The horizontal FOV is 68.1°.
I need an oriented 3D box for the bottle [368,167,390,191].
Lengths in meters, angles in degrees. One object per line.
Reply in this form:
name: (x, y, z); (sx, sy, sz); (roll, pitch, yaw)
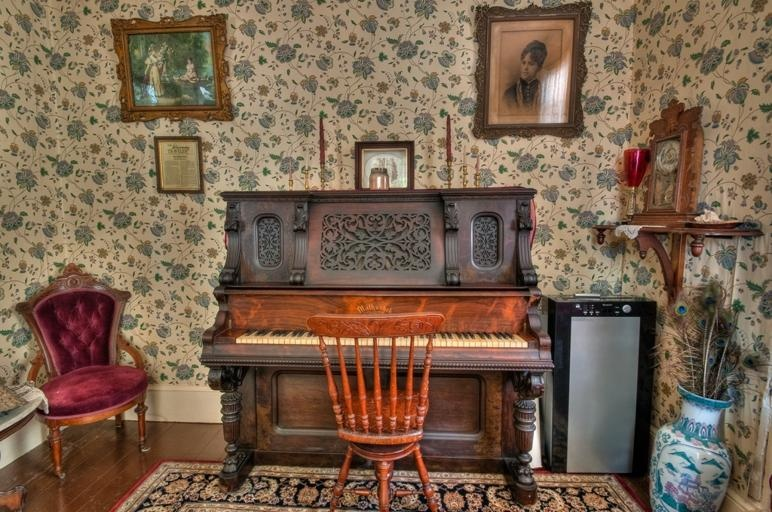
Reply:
bottle: (-0.073, -0.585, 4.517); (0.184, 0.217, 0.182); (0, -3, -7)

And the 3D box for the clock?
clock: (2.148, -0.738, 4.283); (0.140, 0.843, 0.410); (-7, 9, -40)

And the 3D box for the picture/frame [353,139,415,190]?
picture/frame: (-0.018, -0.754, 4.749); (0.511, 0.407, 0.072); (0, -3, -1)

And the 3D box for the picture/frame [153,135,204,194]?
picture/frame: (-1.784, -0.795, 4.885); (0.503, 0.571, 0.042); (-1, 3, -3)

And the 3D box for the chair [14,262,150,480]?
chair: (-2.456, 0.875, 4.623); (0.881, 1.568, 0.808); (-5, 8, -33)

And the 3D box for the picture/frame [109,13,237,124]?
picture/frame: (-1.796, -1.618, 4.842); (0.944, 0.809, 0.066); (-1, 5, 2)
